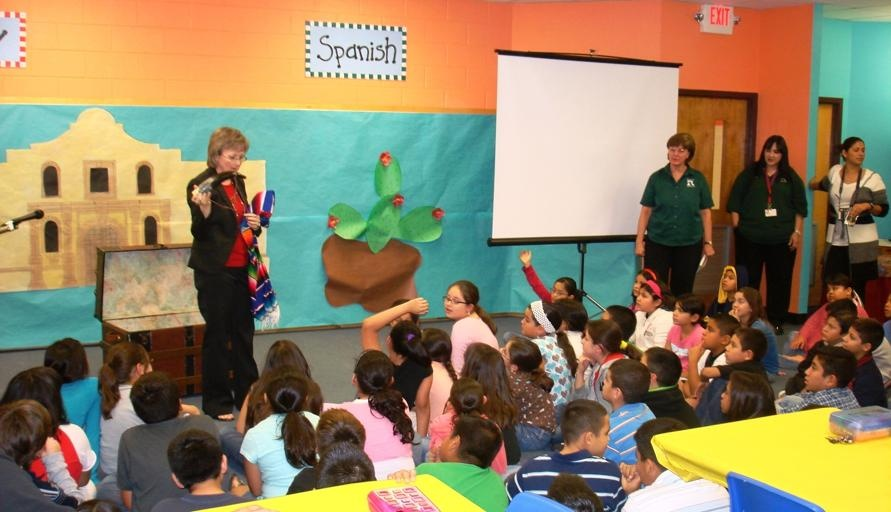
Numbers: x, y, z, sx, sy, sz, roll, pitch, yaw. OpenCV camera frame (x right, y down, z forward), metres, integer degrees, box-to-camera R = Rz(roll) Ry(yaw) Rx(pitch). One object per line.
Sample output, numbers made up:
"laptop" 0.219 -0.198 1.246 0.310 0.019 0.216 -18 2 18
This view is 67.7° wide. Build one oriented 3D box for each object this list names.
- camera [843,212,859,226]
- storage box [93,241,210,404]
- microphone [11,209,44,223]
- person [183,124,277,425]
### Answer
"camera" 4.487 -0.418 7.339 0.147 0.081 0.079 -7 -40 -30
"storage box" -2.640 0.607 6.225 0.821 1.147 1.204 10 4 27
"microphone" -4.059 -0.392 6.388 0.285 0.071 0.088 -20 -14 -29
"person" -1.830 0.150 5.500 0.567 2.500 0.531 -3 0 -24
